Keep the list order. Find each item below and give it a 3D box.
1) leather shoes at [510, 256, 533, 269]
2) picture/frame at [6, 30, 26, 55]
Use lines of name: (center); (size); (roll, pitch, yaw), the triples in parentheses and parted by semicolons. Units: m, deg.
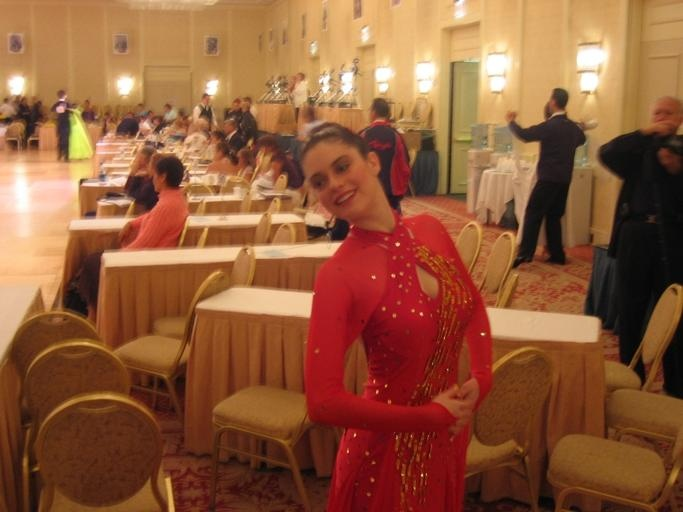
leather shoes: (1.883, 0.046, 5.798); (0.302, 0.139, 0.110); (-6, 3, -22)
picture/frame: (-13.568, -9.011, 23.024); (0.722, 0.868, 0.178); (0, 12, -1)
